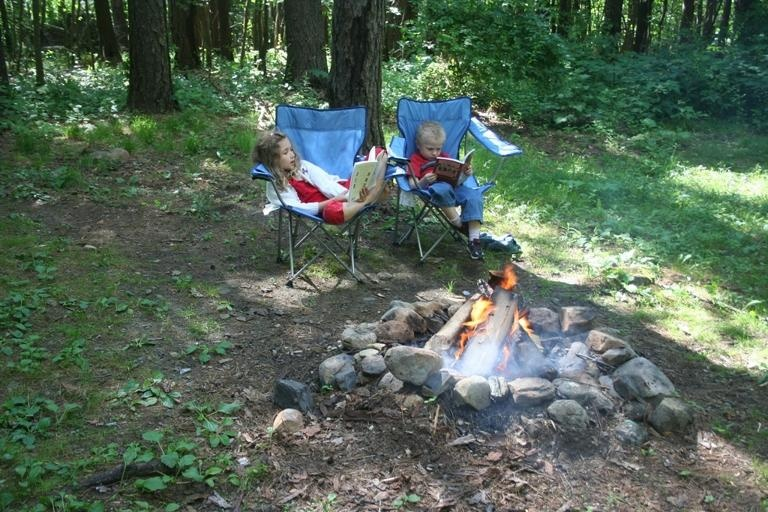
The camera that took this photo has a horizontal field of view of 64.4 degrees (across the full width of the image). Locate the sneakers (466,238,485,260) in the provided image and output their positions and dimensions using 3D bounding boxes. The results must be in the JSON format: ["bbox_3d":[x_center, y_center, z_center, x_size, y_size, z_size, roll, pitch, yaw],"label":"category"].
[{"bbox_3d":[0.945,-0.077,6.286,0.166,0.219,0.261,2,21,4],"label":"sneakers"}]

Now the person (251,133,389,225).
[{"bbox_3d":[-0.601,-0.684,5.959,1.042,0.700,0.928,1,25,10],"label":"person"}]

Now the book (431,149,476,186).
[{"bbox_3d":[0.711,-0.953,6.293,0.387,0.400,0.315,13,44,9],"label":"book"}]

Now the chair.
[{"bbox_3d":[-0.006,-0.597,6.364,2.037,1.275,0.832,-9,31,-16],"label":"chair"}]
